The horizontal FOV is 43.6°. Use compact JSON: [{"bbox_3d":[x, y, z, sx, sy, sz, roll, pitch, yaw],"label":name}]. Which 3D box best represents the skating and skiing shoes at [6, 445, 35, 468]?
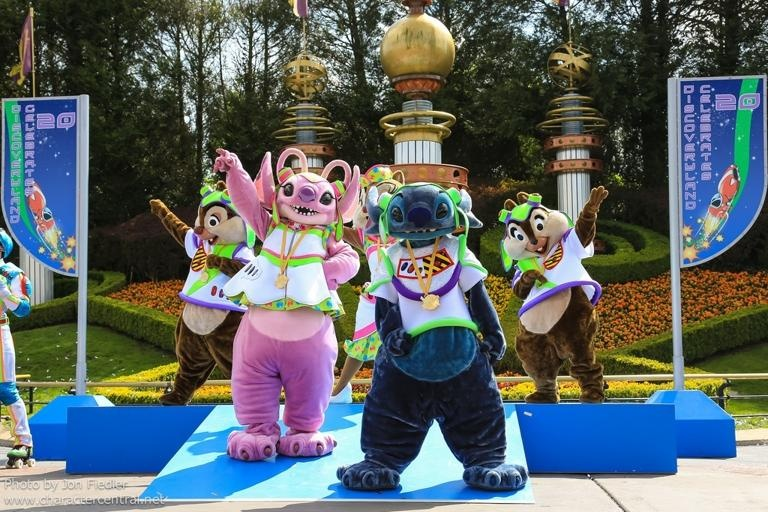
[{"bbox_3d":[-5.042,2.768,13.196,0.202,0.271,0.434,-4,-20,5],"label":"skating and skiing shoes"}]

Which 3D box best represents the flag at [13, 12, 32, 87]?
[{"bbox_3d":[-5.842,-3.382,15.476,0.318,1.227,1.566,-3,14,-22],"label":"flag"}]

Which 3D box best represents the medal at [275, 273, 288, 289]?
[{"bbox_3d":[-1.247,0.300,11.879,0.154,0.156,0.046,6,-7,-23],"label":"medal"}]
